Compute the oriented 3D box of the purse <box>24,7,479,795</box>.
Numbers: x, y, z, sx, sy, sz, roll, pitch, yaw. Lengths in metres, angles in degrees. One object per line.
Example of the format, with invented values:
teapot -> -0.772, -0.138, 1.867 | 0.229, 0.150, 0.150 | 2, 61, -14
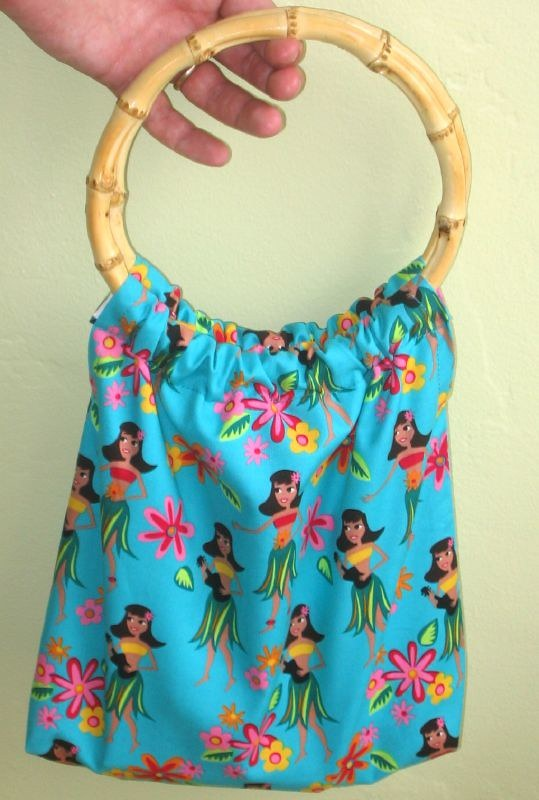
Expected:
purse -> 0.027, 0.038, 0.786 | 0.461, 0.651, 0.338 | 10, -14, -11
